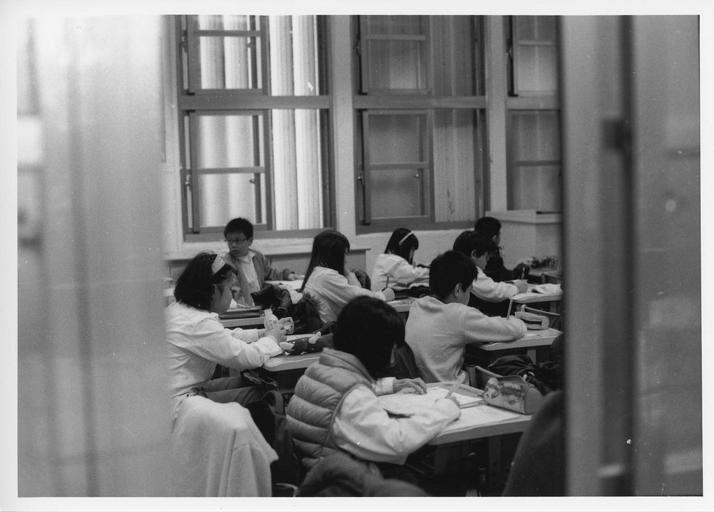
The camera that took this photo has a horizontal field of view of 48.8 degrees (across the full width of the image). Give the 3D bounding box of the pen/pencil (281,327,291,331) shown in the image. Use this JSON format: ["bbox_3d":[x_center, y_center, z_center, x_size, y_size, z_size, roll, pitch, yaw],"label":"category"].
[{"bbox_3d":[-0.325,0.332,3.591,0.029,0.015,0.036,1,-1,-20],"label":"pen/pencil"}]
